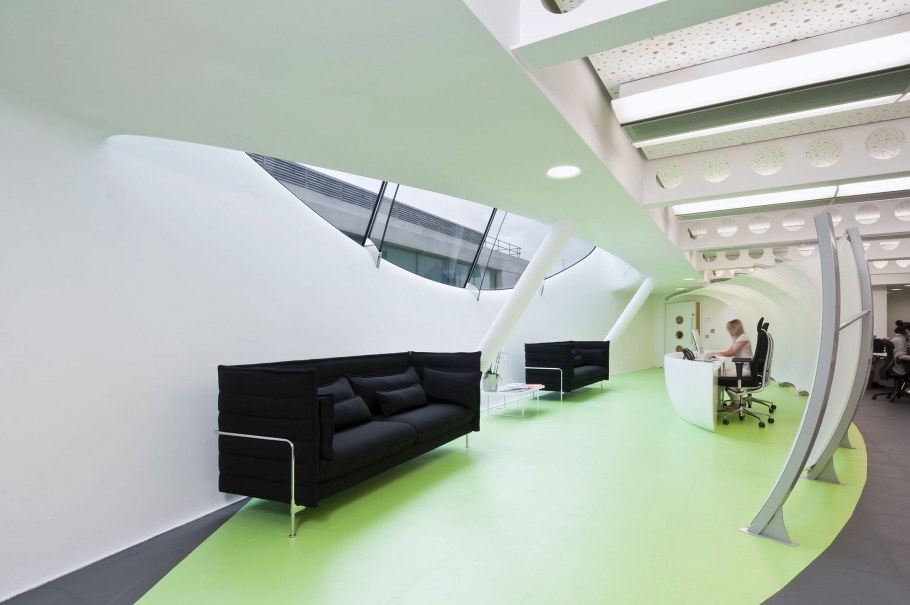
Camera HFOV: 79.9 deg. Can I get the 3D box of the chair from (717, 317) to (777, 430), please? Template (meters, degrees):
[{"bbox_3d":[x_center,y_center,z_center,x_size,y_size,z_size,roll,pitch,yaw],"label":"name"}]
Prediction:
[{"bbox_3d":[5.141,1.208,9.450,0.910,1.845,2.281,6,12,31],"label":"chair"}]

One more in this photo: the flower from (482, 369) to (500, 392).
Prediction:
[{"bbox_3d":[0.610,1.337,9.497,0.320,0.355,0.337,-2,-4,24],"label":"flower"}]
